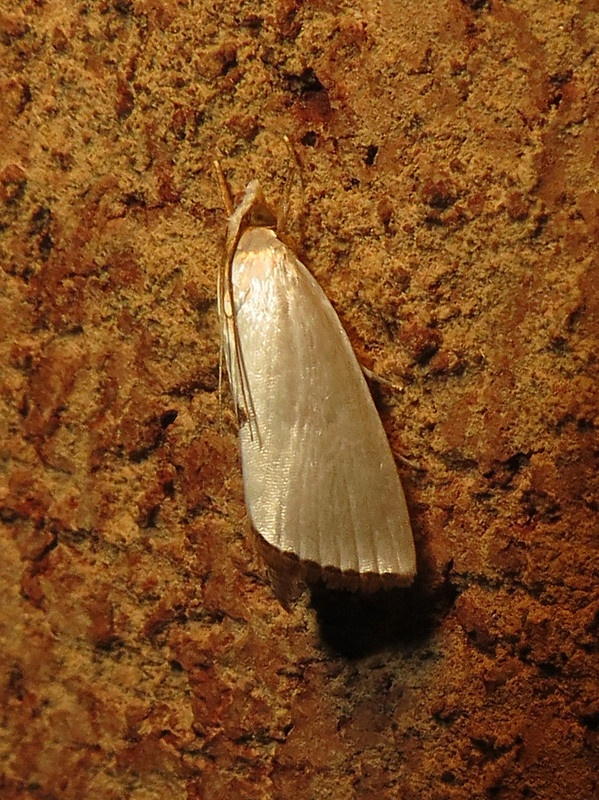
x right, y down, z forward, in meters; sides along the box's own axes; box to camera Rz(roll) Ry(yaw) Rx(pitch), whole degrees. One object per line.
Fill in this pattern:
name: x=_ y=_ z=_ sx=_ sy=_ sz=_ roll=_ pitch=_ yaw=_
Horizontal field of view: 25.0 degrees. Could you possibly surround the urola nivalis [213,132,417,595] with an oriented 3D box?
urola nivalis: x=-0.008 y=-0.021 z=2.093 sx=0.229 sy=0.128 sz=0.720 roll=-15 pitch=80 yaw=0
